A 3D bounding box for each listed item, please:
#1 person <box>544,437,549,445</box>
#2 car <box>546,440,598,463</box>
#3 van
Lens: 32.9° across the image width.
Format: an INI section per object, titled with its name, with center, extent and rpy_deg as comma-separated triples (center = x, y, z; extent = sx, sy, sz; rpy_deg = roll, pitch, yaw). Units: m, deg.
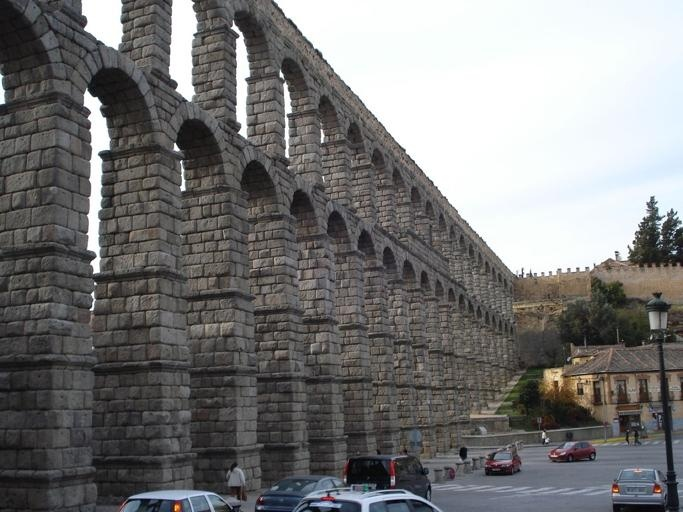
[person]
center = 13.768, 12.537, 77.000
extent = 0.242, 0.314, 0.797
rpy_deg = 0, 1, 6
[car]
center = 12.698, 10.734, 62.778
extent = 2.871, 1.294, 1.152
rpy_deg = 9, -22, -35
[van]
center = 1.991, 8.417, 43.265
extent = 1.622, 1.512, 2.915
rpy_deg = -7, -12, 32
